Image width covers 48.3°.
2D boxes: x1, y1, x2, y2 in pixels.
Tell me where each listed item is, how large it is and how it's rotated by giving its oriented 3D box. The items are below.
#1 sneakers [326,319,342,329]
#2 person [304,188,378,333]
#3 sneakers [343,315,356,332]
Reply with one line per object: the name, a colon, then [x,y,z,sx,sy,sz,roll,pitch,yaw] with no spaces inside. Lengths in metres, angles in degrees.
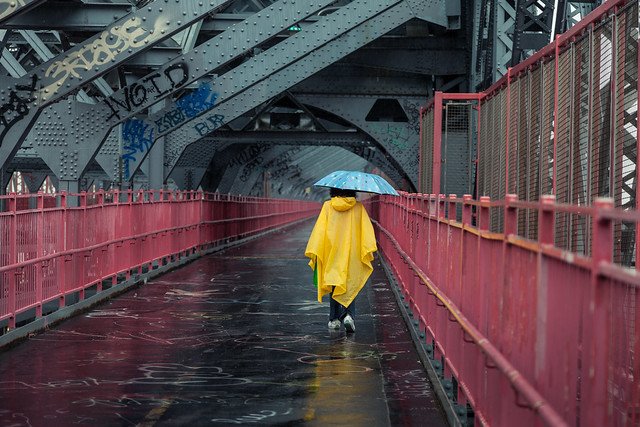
sneakers: [0.210,1.680,10.948,0.114,0.142,0.324,1,-9,-12]
person: [0.306,0.706,10.738,1.020,2.124,0.594,1,2,3]
sneakers: [0.415,1.628,10.613,0.156,0.281,0.205,1,2,9]
